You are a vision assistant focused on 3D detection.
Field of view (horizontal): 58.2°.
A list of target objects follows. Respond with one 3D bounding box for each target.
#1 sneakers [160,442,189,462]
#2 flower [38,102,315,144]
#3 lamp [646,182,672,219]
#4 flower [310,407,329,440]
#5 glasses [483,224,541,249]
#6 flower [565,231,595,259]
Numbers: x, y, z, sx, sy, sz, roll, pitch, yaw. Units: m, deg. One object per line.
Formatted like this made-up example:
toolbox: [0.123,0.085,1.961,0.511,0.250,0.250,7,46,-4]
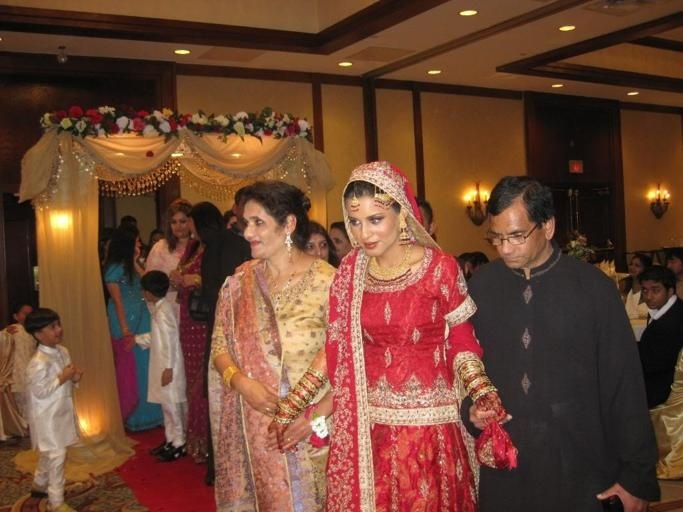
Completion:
sneakers: [-1.589,1.858,5.787,0.220,0.097,0.117,12,-12,-44]
flower: [-1.694,-1.442,6.563,2.731,0.374,0.335,-5,5,-28]
lamp: [6.929,-1.198,13.302,0.401,0.702,0.180,-1,-4,36]
flower: [-0.109,0.842,3.118,0.100,0.141,0.067,-4,4,-21]
glasses: [0.826,-0.103,3.005,0.274,0.105,0.153,1,5,37]
flower: [3.401,-0.177,8.742,0.174,0.422,0.308,-21,26,22]
